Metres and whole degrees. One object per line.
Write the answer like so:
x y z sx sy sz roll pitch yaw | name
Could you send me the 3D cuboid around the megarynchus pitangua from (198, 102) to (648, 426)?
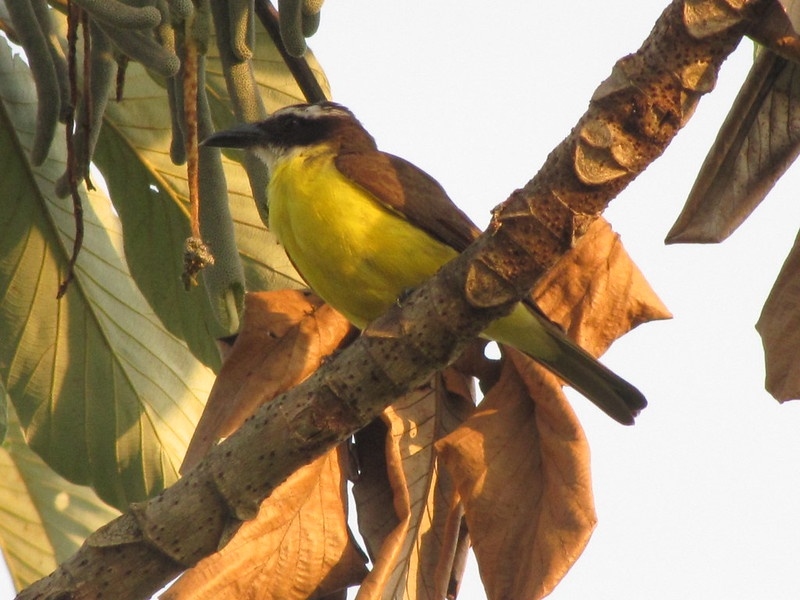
0.103 -0.129 8.310 2.218 1.482 0.804 20 -56 -11 | megarynchus pitangua
